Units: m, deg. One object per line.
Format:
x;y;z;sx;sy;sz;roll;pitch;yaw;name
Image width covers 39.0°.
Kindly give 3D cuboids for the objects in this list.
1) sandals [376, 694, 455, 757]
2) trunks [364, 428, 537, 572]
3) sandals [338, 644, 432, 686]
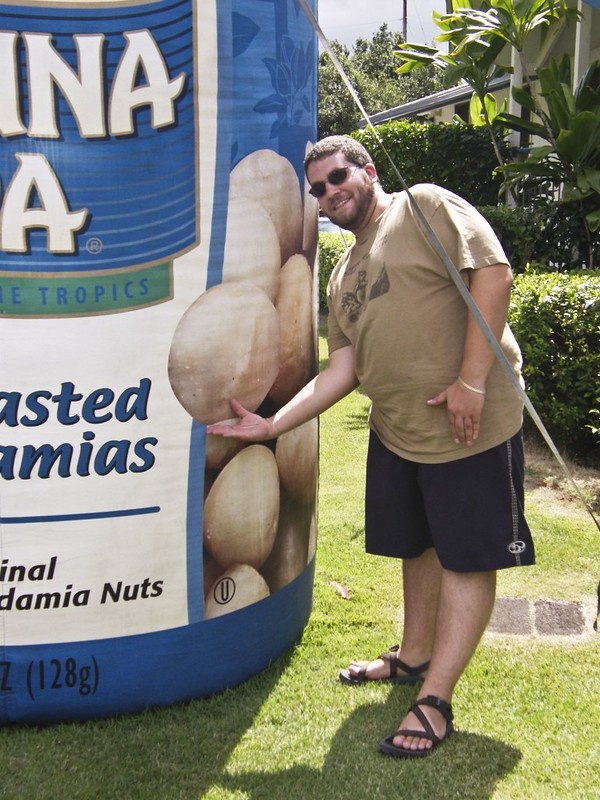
0.324;0.896;2.326;0.110;0.094;0.246;-4;-10;33;sandals
0.417;0.282;2.414;0.562;0.442;0.306;-3;-7;40;trunks
0.277;0.852;2.737;0.306;0.104;0.101;3;-5;1;sandals
